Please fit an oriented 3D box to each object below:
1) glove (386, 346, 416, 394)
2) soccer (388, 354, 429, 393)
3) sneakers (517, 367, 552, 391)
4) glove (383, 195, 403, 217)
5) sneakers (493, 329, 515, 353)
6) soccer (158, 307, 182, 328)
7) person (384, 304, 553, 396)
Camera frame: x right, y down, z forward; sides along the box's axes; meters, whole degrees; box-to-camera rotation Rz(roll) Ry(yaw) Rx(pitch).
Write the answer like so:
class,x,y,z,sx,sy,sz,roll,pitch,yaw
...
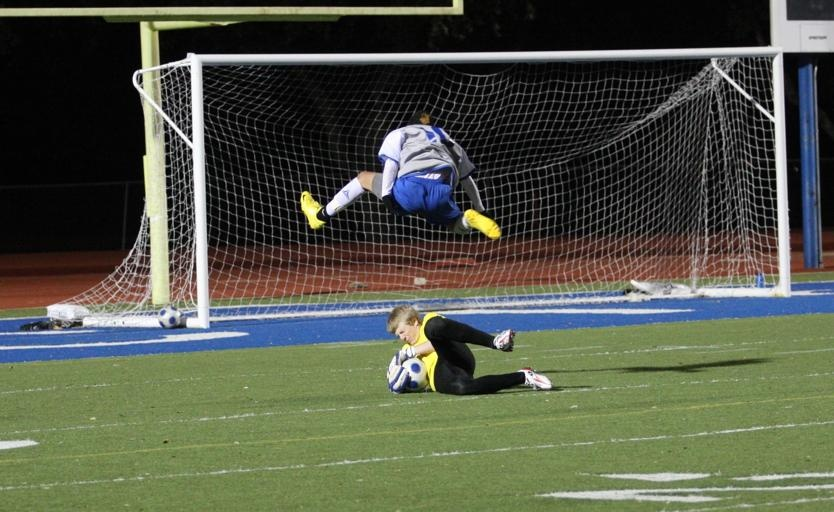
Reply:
class,x,y,z,sx,sy,sz,roll,pitch,yaw
glove,-0.174,1.373,14.147,0.326,0.479,0.418,13,-24,-14
soccer,-0.077,1.448,14.287,0.502,0.420,0.493,9,14,-20
sneakers,1.444,1.463,13.888,0.266,0.139,0.417,4,1,21
glove,-0.468,-0.791,18.182,0.370,0.153,0.252,32,-21,31
sneakers,1.009,0.968,13.565,0.232,0.250,0.276,0,-2,1
soccer,-3.838,0.959,18.176,0.349,0.229,0.259,10,37,23
person,0.542,1.138,13.835,1.958,0.593,1.166,6,-5,5
